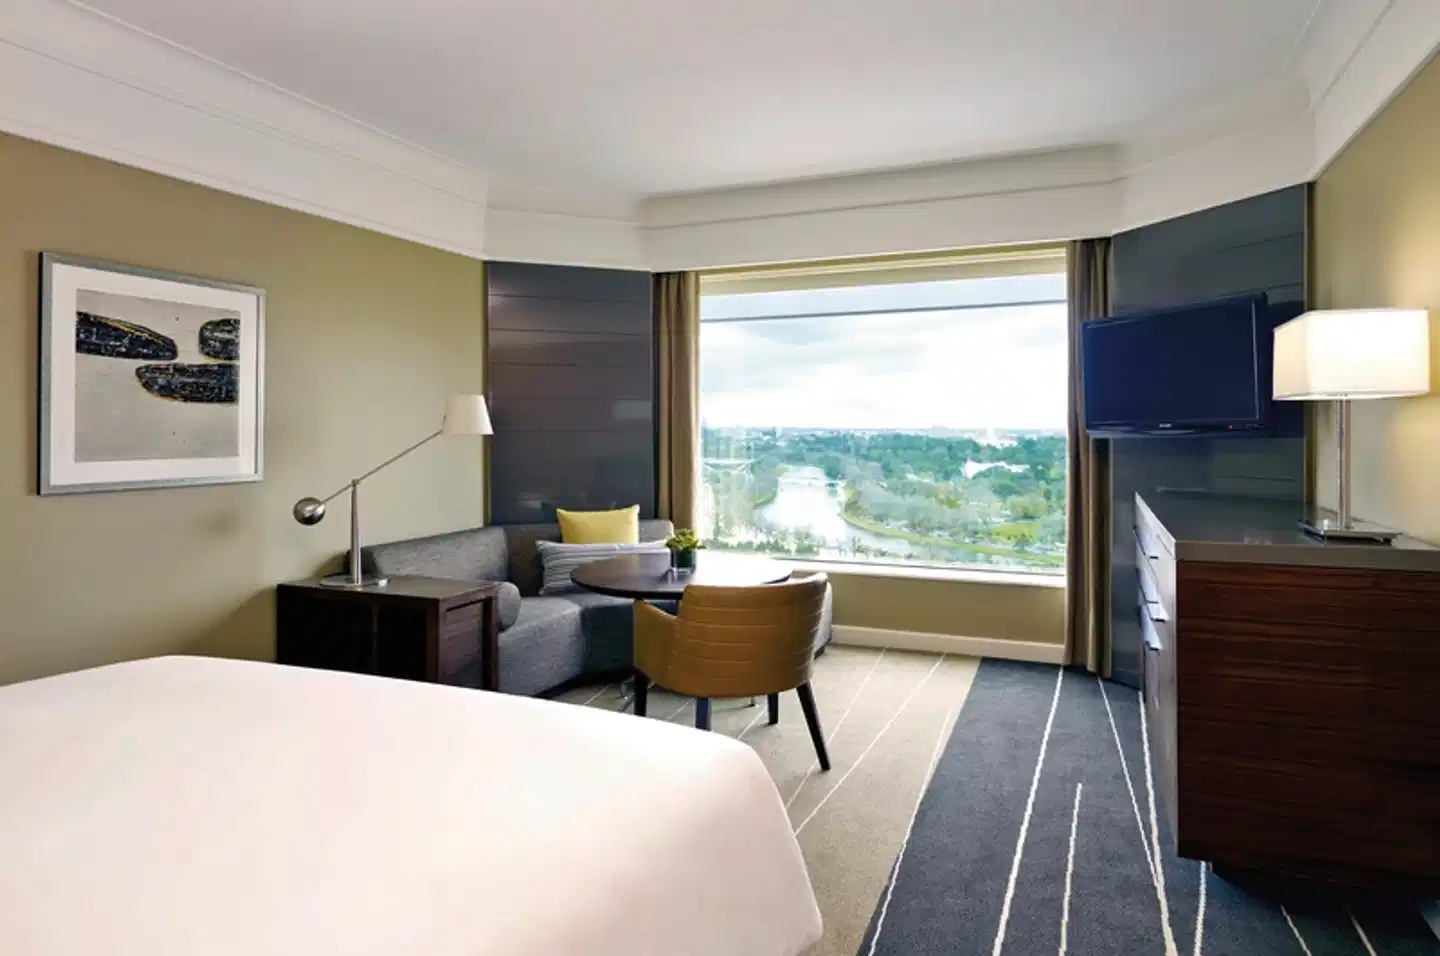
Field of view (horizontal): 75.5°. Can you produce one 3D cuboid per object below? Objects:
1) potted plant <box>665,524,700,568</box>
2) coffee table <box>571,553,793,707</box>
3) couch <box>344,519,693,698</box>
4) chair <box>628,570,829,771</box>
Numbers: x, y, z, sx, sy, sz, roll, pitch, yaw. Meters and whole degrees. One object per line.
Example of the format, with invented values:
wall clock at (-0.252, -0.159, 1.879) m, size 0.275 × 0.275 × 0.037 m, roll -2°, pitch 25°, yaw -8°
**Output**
potted plant at (-0.225, 0.403, 5.388) m, size 0.213 × 0.205 × 0.207 m, roll 0°, pitch -7°, yaw -2°
coffee table at (-0.279, 0.720, 5.226) m, size 1.056 × 0.642 × 1.044 m, roll 0°, pitch 2°, yaw 13°
couch at (-1.262, 0.830, 5.839) m, size 1.030 × 0.737 × 1.459 m, roll -1°, pitch 0°, yaw 20°
chair at (-0.039, 0.808, 4.793) m, size 1.006 × 1.137 × 1.039 m, roll 2°, pitch -2°, yaw -43°
